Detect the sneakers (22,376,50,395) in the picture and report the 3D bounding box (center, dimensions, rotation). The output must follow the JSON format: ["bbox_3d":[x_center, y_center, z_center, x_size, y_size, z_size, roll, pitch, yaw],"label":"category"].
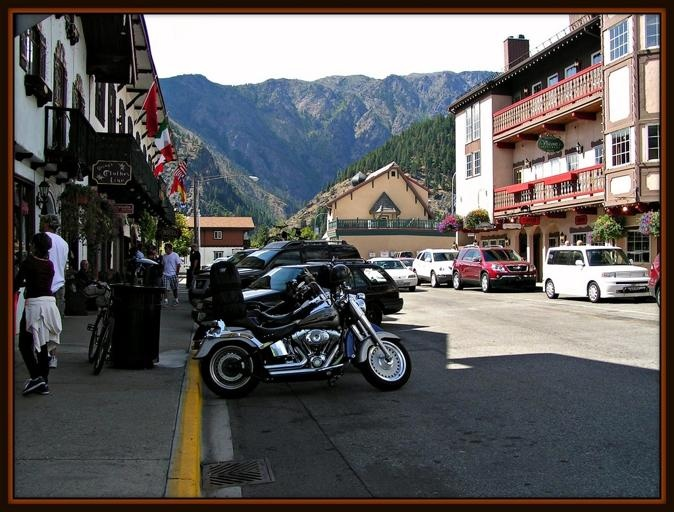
[{"bbox_3d":[-4.008,1.736,8.354,0.327,0.246,0.198,-1,-1,-30],"label":"sneakers"}]

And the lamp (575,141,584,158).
[{"bbox_3d":[13.575,-5.981,35.057,0.159,0.625,0.567,-1,-1,-8],"label":"lamp"}]

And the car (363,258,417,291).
[{"bbox_3d":[2.931,0.864,31.187,1.243,1.181,3.245,-1,-1,-8],"label":"car"}]

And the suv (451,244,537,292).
[{"bbox_3d":[7.134,0.568,29.403,2.075,1.503,3.655,-1,-2,-31],"label":"suv"}]

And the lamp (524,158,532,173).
[{"bbox_3d":[12.409,-5.904,40.791,0.128,0.573,0.536,1,-1,-26],"label":"lamp"}]

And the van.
[{"bbox_3d":[9.292,0.655,22.726,1.905,1.713,3.157,0,-3,-26],"label":"van"}]

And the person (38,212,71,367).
[{"bbox_3d":[-4.501,0.536,9.673,0.557,2.350,0.638,3,8,-10],"label":"person"}]

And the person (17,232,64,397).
[{"bbox_3d":[-4.076,0.758,8.569,0.510,2.209,0.847,-1,-1,-21],"label":"person"}]

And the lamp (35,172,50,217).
[{"bbox_3d":[-7.636,-1.581,16.321,0.206,0.983,1.332,-1,-2,-20],"label":"lamp"}]
